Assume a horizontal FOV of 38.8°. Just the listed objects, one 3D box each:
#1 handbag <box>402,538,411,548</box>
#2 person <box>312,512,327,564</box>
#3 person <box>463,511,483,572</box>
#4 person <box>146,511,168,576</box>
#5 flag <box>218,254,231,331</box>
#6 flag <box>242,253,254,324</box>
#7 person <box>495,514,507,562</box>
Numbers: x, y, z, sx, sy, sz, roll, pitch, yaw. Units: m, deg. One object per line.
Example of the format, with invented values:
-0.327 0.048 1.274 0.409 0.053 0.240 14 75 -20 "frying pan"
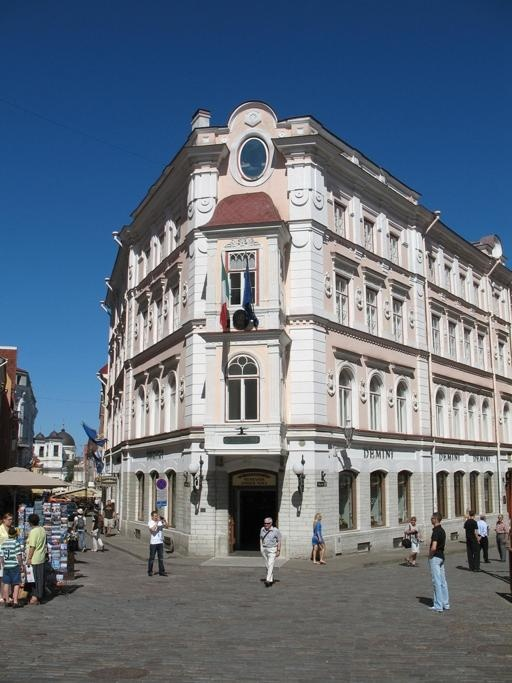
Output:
4.543 6.200 22.078 0.231 0.346 0.313 -7 31 8 "handbag"
1.892 6.075 22.436 0.365 1.475 0.756 -1 -12 4 "person"
6.312 5.860 21.368 0.387 1.667 1.405 -3 -13 15 "person"
-2.600 5.370 19.339 0.508 1.639 1.315 1 -13 -8 "person"
-1.017 -1.563 23.901 0.308 2.572 0.368 1 -12 -4 "flag"
-0.208 -1.659 23.681 0.500 2.436 0.781 0 -12 0 "flag"
8.361 6.728 24.879 0.343 1.481 2.086 -4 -13 18 "person"
